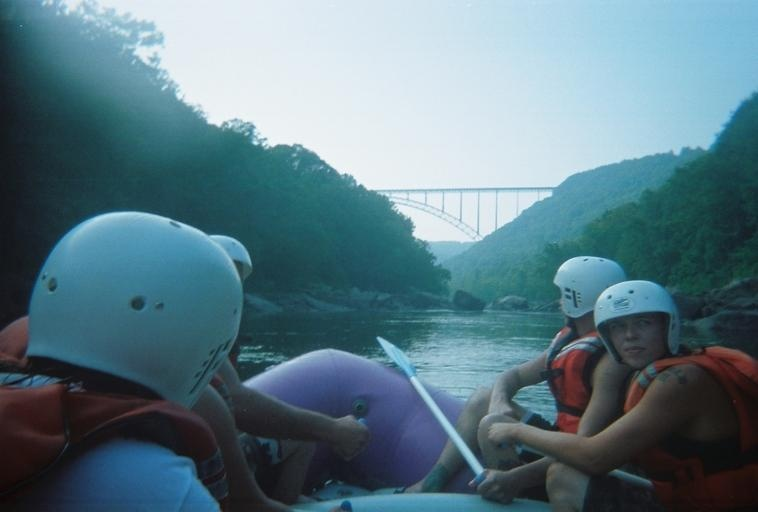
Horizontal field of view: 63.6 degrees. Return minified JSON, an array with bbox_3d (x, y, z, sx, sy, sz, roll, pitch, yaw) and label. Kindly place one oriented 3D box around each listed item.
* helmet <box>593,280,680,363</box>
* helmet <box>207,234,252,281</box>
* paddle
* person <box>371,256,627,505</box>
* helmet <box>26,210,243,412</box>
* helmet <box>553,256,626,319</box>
[{"bbox_3d":[1.070,0.254,2.558,0.277,0.313,0.370,-5,2,34],"label":"helmet"},{"bbox_3d":[-0.725,-0.008,2.991,0.084,0.287,0.271,-36,-12,-27],"label":"helmet"},{"bbox_3d":[0.304,0.951,4.073,0.136,0.096,1.178,2,-46,37],"label":"paddle"},{"bbox_3d":[0.756,0.676,3.059,1.684,1.001,0.741,16,-9,-31],"label":"person"},{"bbox_3d":[-0.682,0.167,2.059,0.480,0.508,0.649,12,-19,21],"label":"helmet"},{"bbox_3d":[1.021,0.149,3.036,0.347,0.302,0.269,0,0,39],"label":"helmet"}]
